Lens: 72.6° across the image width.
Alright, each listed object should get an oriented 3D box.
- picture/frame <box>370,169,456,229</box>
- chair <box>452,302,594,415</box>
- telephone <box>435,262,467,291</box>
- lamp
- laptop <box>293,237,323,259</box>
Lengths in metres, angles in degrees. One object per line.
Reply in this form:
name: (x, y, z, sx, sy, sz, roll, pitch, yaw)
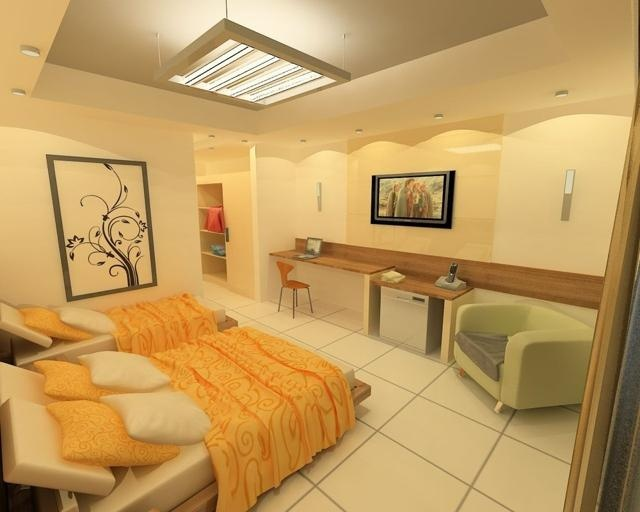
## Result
picture/frame: (1.080, -0.648, 4.865, 0.716, 0.436, 0.035, 12, 18, 41)
chair: (1.705, 0.865, 3.689, 0.769, 0.757, 0.855, -2, 9, -15)
telephone: (1.365, 0.197, 4.504, 0.303, 0.242, 0.354, 6, 10, 33)
lamp: (-0.544, -1.396, 3.284, 0.834, 0.349, 0.832, -4, 4, -39)
laptop: (-0.133, -0.109, 6.060, 0.354, 0.307, 0.252, 11, 3, 43)
